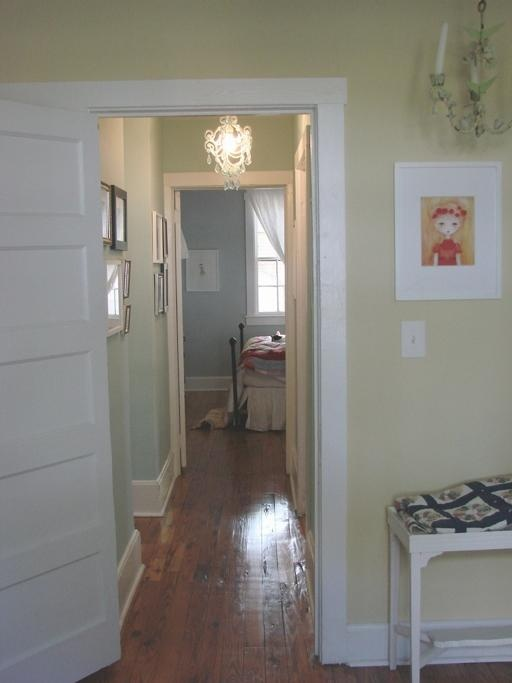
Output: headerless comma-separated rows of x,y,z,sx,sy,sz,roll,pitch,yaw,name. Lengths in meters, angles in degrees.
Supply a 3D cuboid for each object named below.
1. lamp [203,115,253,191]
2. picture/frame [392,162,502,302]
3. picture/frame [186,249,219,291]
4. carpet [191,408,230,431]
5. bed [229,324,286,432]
-0.166,-1.198,3.500,0.327,0.507,0.461,-1,5,-5,lamp
0.639,-0.388,1.853,0.344,0.558,0.024,-1,2,-3,picture/frame
-0.635,-0.870,6.681,0.434,0.687,0.101,0,2,-2,picture/frame
-0.394,0.738,5.299,0.310,0.139,0.469,1,6,19,carpet
0.004,0.388,5.335,0.549,0.804,0.910,-1,5,0,bed
